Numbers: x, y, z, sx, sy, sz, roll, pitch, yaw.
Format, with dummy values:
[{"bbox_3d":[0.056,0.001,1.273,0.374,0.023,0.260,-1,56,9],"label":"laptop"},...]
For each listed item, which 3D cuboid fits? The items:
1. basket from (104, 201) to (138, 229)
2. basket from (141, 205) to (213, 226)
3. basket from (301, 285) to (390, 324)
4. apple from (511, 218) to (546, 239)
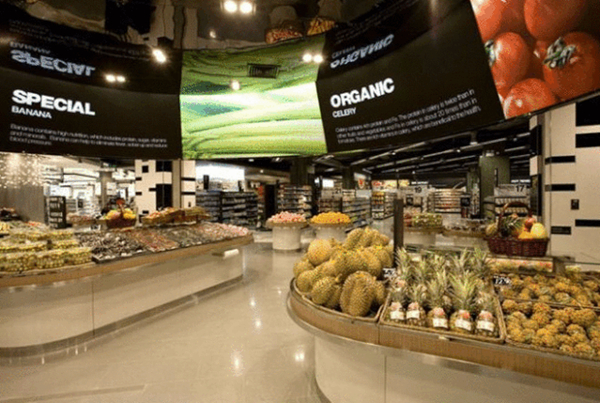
[{"bbox_3d":[-3.113,0.202,6.434,0.599,0.428,0.569,-6,17,-30],"label":"basket"},{"bbox_3d":[-2.318,0.275,6.783,1.104,0.308,0.604,-1,8,-40],"label":"basket"},{"bbox_3d":[0.371,0.920,3.293,0.528,0.182,0.405,5,5,25],"label":"basket"},{"bbox_3d":[2.397,0.275,3.799,0.205,0.126,0.320,2,7,14],"label":"apple"}]
